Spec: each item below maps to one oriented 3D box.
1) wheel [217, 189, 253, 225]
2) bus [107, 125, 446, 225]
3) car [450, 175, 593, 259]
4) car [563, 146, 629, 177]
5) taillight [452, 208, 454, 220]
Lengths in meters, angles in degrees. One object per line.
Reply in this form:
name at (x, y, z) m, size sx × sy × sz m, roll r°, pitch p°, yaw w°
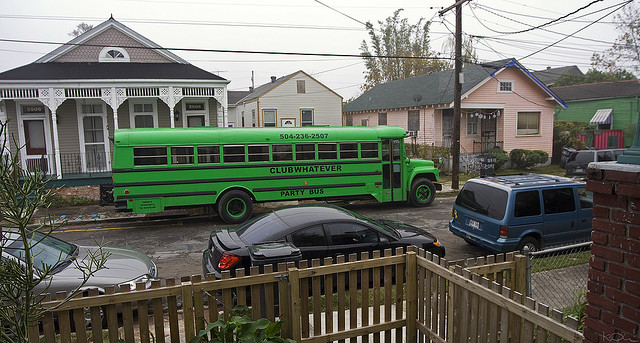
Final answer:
wheel at (-3.684, 1.491, 20.546) m, size 1.472 × 1.488 × 0.449 m, roll -5°, pitch 4°, yaw -10°
bus at (-1.364, -0.014, 23.028) m, size 16.243 × 3.644 × 3.935 m, roll -3°, pitch -1°, yaw -30°
car at (7.716, 1.559, 17.587) m, size 5.640 × 2.418 × 2.942 m, roll -4°, pitch 9°, yaw -27°
car at (11.611, -0.438, 20.566) m, size 2.815 × 0.936 × 1.323 m, roll -17°, pitch 10°, yaw -29°
taillight at (4.802, 1.529, 17.385) m, size 0.042 × 0.417 × 0.191 m, roll -4°, pitch 4°, yaw 7°
